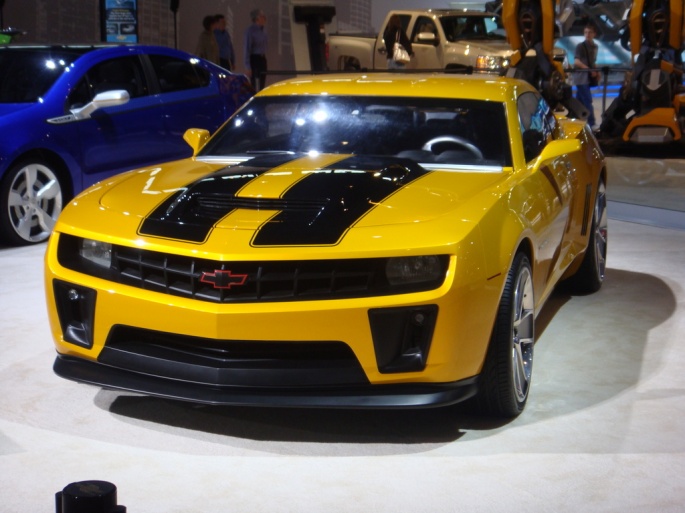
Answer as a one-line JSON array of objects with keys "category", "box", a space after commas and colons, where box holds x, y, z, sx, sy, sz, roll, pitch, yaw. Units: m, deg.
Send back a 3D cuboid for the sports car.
[{"category": "sports car", "box": [0.464, -0.419, 4.009, 2.481, 1.313, 4.066, 6, 18, 32]}]
